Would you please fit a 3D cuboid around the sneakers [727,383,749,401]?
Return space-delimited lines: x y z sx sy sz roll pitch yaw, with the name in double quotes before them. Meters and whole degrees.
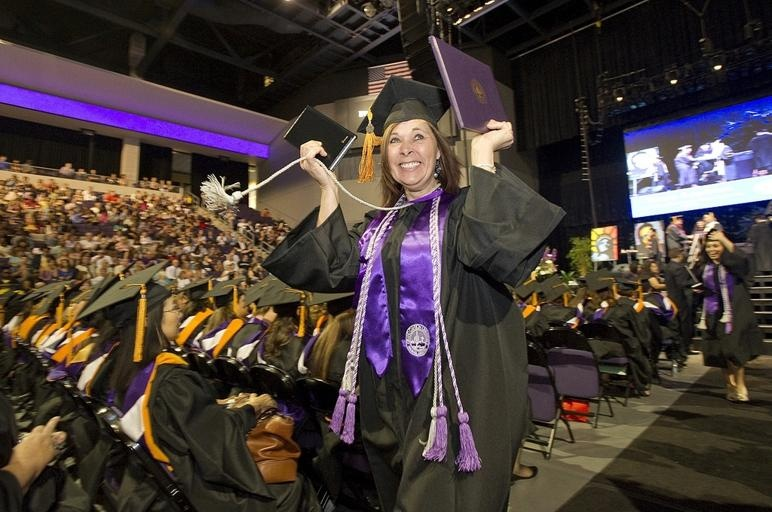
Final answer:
"sneakers" 5.459 2.104 7.468 0.277 0.265 0.281 0 6 36

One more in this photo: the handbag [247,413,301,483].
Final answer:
"handbag" -1.111 1.858 4.684 0.625 0.505 0.433 3 -13 -16
